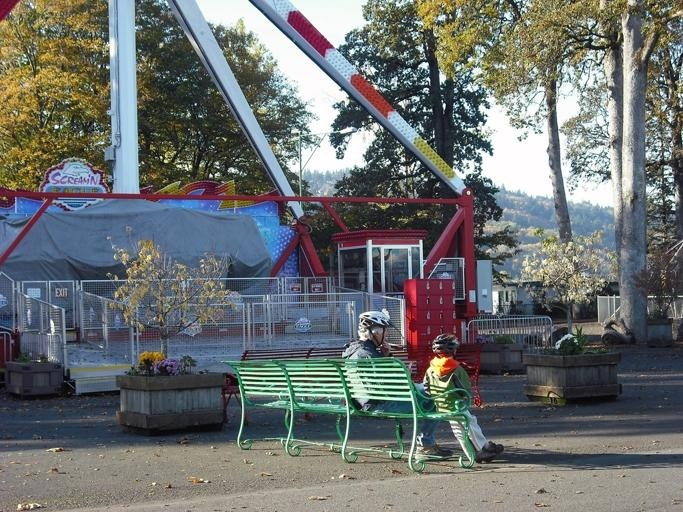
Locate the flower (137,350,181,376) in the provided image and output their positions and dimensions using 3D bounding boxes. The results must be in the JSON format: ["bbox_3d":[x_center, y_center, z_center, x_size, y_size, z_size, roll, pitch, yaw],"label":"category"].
[{"bbox_3d":[-4.067,2.421,26.934,0.605,0.378,0.609,2,-6,-1],"label":"flower"}]

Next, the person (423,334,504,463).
[{"bbox_3d":[2.411,2.911,24.586,1.442,2.587,0.737,-1,-5,3],"label":"person"}]

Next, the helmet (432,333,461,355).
[{"bbox_3d":[2.119,1.837,24.689,0.419,0.453,0.471,-11,17,-32],"label":"helmet"}]
